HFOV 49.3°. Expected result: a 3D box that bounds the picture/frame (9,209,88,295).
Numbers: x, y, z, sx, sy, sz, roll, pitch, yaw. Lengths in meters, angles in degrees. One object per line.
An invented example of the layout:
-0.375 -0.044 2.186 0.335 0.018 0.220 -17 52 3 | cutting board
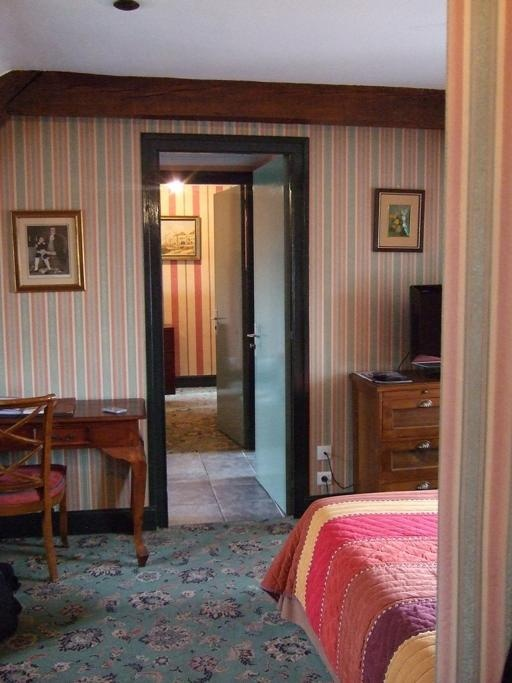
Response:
-1.166 -0.512 3.093 0.469 0.540 0.039 -2 6 -12 | picture/frame

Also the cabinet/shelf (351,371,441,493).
0.907 0.639 3.320 0.590 0.773 0.459 0 2 -1 | cabinet/shelf

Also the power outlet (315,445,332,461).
0.415 0.690 3.452 0.098 0.097 0.050 0 2 -12 | power outlet

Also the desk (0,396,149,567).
-0.826 0.599 3.143 0.964 0.894 0.789 0 2 -2 | desk

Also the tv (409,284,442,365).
1.020 -0.106 3.390 0.247 0.470 0.144 4 6 37 | tv

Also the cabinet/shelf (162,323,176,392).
-1.128 0.262 7.326 0.125 0.909 0.267 -1 5 -13 | cabinet/shelf

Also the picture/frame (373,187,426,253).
0.877 -0.768 3.463 0.421 0.467 0.036 0 5 -14 | picture/frame

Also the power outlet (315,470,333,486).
0.421 0.849 3.465 0.100 0.095 0.051 0 5 -11 | power outlet
